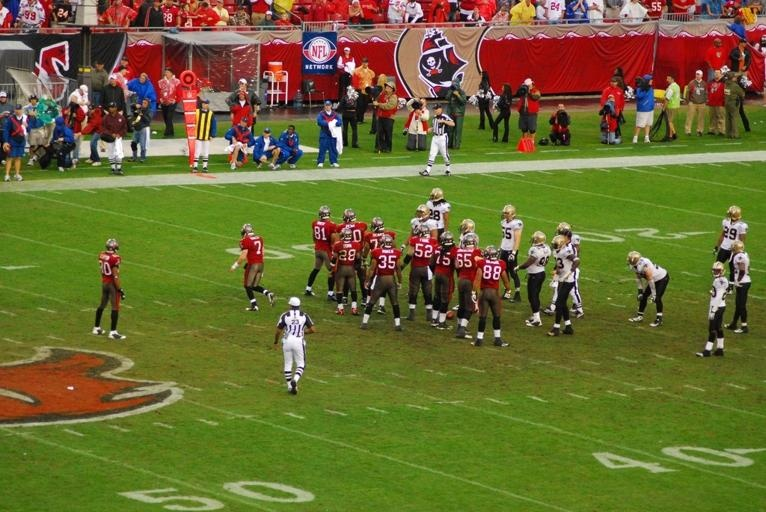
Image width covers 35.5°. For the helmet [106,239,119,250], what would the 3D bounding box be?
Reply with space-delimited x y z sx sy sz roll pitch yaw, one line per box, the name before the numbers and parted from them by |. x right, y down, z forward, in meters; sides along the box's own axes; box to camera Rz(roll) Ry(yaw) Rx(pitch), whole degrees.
helmet | -5.533 -0.237 23.929 0.157 0.169 0.177 8 -20 8

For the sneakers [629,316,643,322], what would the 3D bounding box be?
sneakers | 5.458 1.310 25.611 0.333 0.129 0.101 2 39 7

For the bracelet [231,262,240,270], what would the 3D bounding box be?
bracelet | -3.309 0.201 26.157 0.090 0.063 0.262 8 33 44

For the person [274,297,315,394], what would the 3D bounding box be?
person | -1.683 1.570 22.019 0.676 1.798 1.301 0 6 -4

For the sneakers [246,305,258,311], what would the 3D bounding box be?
sneakers | -2.845 1.078 25.506 0.285 0.110 0.103 5 18 34

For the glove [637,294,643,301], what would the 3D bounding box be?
glove | 5.619 0.872 25.924 0.055 0.132 0.103 14 5 -36

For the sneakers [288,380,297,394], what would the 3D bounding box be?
sneakers | -1.706 2.358 21.870 0.111 0.276 0.145 -1 7 17

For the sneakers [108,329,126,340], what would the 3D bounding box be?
sneakers | -5.403 1.532 23.762 0.427 0.166 0.141 1 27 -7

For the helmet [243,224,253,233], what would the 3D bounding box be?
helmet | -2.981 -0.594 25.621 0.174 0.195 0.221 14 13 31

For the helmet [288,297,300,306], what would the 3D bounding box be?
helmet | -1.618 0.816 21.466 0.200 0.179 0.249 -4 16 -18

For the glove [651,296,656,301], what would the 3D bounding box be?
glove | 5.787 0.881 25.344 0.040 0.081 0.088 -1 -12 -3

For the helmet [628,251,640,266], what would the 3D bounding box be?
helmet | 5.334 0.055 25.236 0.236 0.269 0.228 1 6 12

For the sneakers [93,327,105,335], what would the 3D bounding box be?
sneakers | -5.817 1.479 23.933 0.256 0.106 0.160 -4 -30 -10

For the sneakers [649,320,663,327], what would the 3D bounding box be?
sneakers | 5.866 1.389 25.437 0.332 0.122 0.126 -6 13 -40

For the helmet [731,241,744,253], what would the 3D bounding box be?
helmet | 7.391 -0.196 24.678 0.211 0.216 0.408 1 6 11

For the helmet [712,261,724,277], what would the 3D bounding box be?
helmet | 6.643 0.240 23.669 0.235 0.243 0.309 2 8 30

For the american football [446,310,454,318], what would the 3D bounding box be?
american football | 1.415 1.221 25.575 0.247 0.094 0.289 0 0 3
